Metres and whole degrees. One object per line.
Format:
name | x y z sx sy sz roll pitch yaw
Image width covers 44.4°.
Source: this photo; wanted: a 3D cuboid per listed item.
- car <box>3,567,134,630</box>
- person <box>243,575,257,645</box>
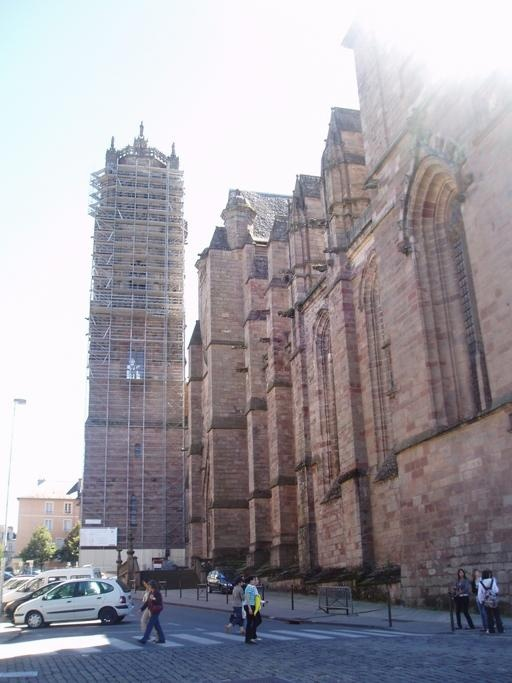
car | -4.202 5.981 14.713 2.348 0.950 1.239 1 -21 -1
person | -0.079 4.091 9.423 0.205 0.764 0.366 -6 -17 2
